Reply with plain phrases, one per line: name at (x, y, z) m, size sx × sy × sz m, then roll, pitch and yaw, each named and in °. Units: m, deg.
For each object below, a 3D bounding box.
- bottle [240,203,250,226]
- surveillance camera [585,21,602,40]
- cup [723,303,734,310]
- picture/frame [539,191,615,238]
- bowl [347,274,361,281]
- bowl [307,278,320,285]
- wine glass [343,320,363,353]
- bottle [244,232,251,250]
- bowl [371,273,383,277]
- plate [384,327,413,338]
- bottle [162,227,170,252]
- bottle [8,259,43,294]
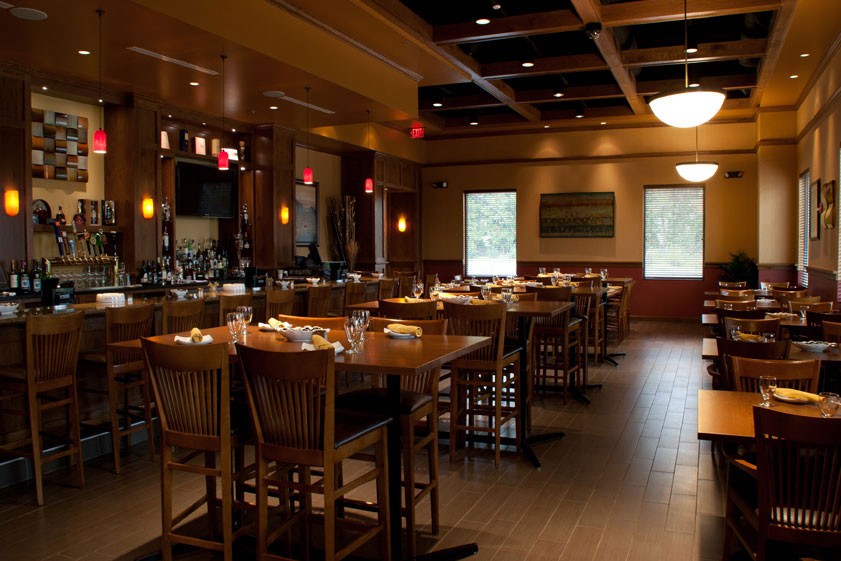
bottle at (-3.173, -1.171, 10.655) m, size 0.189 × 0.382 × 0.110 m, roll -3°, pitch 3°, yaw -25°
surveillance camera at (2.371, -3.422, 8.193) m, size 0.269 × 0.130 × 0.367 m, roll -1°, pitch -4°, yaw 6°
cup at (3.704, 0.312, 7.136) m, size 0.142 × 0.066 × 0.193 m, roll -1°, pitch 6°, yaw 23°
picture/frame at (3.697, -1.522, 14.175) m, size 1.711 × 1.066 × 0.208 m, roll -1°, pitch 3°, yaw 13°
bowl at (-1.103, -0.037, 9.735) m, size 0.126 × 0.080 × 0.159 m, roll -2°, pitch -4°, yaw 25°
bowl at (-1.611, 0.013, 8.906) m, size 0.179 × 0.066 × 0.172 m, roll -2°, pitch -4°, yaw 0°
wine glass at (-0.440, 0.351, 3.925) m, size 0.108 × 0.197 × 0.270 m, roll -1°, pitch 2°, yaw -6°
bottle at (-3.124, -0.696, 10.691) m, size 0.123 × 0.279 × 0.057 m, roll -2°, pitch 3°, yaw -23°
bowl at (-0.794, -0.089, 10.583) m, size 0.145 × 0.056 × 0.164 m, roll 2°, pitch 3°, yaw 24°
plate at (-0.178, 0.375, 4.232) m, size 0.240 × 0.059 × 0.075 m, roll 1°, pitch 3°, yaw 38°
bottle at (-3.999, -0.612, 9.289) m, size 0.092 × 0.333 × 0.113 m, roll 1°, pitch 4°, yaw 40°
bottle at (-4.914, -0.033, 7.347) m, size 0.436 × 0.529 × 0.145 m, roll 4°, pitch -5°, yaw -40°
